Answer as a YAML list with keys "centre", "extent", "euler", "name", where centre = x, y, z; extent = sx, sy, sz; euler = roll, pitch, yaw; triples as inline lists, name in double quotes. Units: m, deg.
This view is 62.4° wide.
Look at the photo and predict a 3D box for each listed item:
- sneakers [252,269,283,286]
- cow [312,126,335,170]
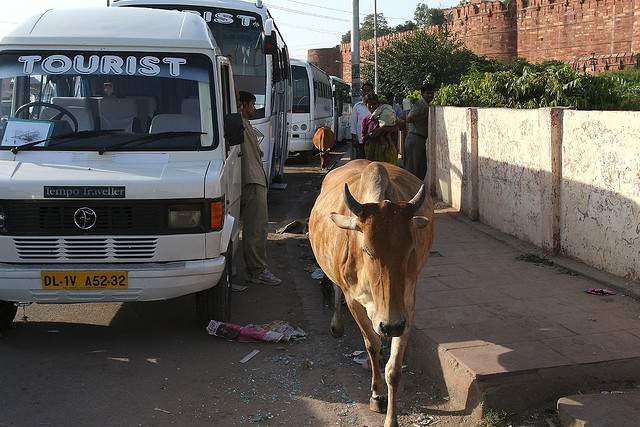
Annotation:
- centre: [-0.741, 0.898, 7.490]
  extent: [0.473, 0.253, 0.182]
  euler: [3, 8, 2]
  name: "sneakers"
- centre: [0.339, -2.331, 19.659]
  extent: [0.835, 1.493, 2.818]
  euler: [-2, 0, 4]
  name: "cow"
